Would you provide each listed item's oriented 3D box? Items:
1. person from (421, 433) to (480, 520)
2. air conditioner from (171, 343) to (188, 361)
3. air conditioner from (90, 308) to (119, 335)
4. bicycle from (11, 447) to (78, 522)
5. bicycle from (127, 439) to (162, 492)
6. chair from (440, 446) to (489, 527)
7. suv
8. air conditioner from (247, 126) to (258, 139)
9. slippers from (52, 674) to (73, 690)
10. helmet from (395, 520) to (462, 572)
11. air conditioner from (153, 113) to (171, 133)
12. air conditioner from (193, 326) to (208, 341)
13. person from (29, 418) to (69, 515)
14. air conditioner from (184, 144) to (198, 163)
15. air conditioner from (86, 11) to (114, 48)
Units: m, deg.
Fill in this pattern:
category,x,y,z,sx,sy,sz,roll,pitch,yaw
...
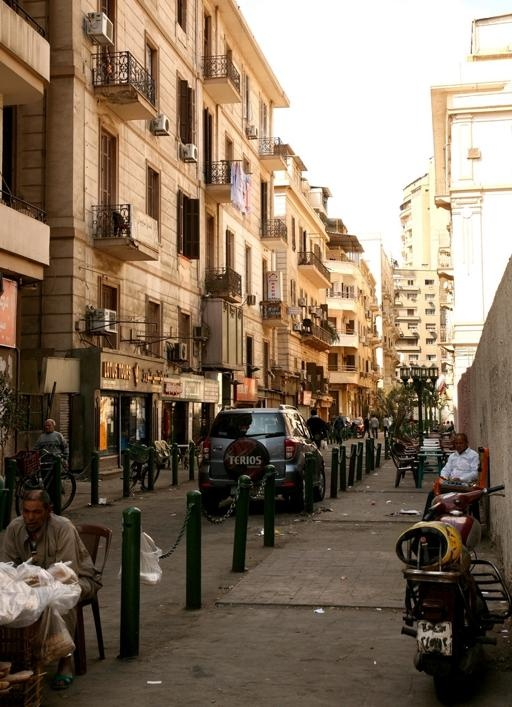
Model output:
category,x,y,z,sx,sy,sz,roll,pitch,yaw
person,2.451,1.612,11.281,0.664,1.302,0.427,13,-15,-34
air conditioner,-2.480,0.009,28.970,0.364,0.758,0.813,-1,-8,7
air conditioner,-3.728,-0.573,21.921,0.420,0.732,0.889,-2,-4,7
bicycle,-3.278,2.021,14.174,0.622,1.005,1.462,-10,-9,21
bicycle,-2.374,2.290,18.361,0.488,0.851,1.268,1,-11,6
chair,2.457,1.469,10.862,0.508,0.739,1.018,-3,-17,7
suv,0.104,1.675,14.831,1.139,1.302,2.221,-1,-1,13
air conditioner,-0.170,-9.890,40.227,0.414,0.636,0.882,-1,-4,11
slippers,-1.048,1.792,4.907,0.100,0.063,0.108,1,-6,-15
helmet,0.915,1.015,4.755,0.334,0.246,0.343,-2,-6,15
air conditioner,-2.802,-6.643,26.754,0.342,0.707,0.745,0,-1,7
air conditioner,-1.915,-0.579,31.473,0.333,0.547,0.703,1,-3,12
person,-3.467,1.839,15.302,0.518,1.679,0.496,-1,-36,-15
air conditioner,-2.203,-6.698,30.266,0.411,0.700,0.860,0,-3,9
air conditioner,-3.826,-7.642,21.894,0.491,0.747,0.993,-1,-7,7
